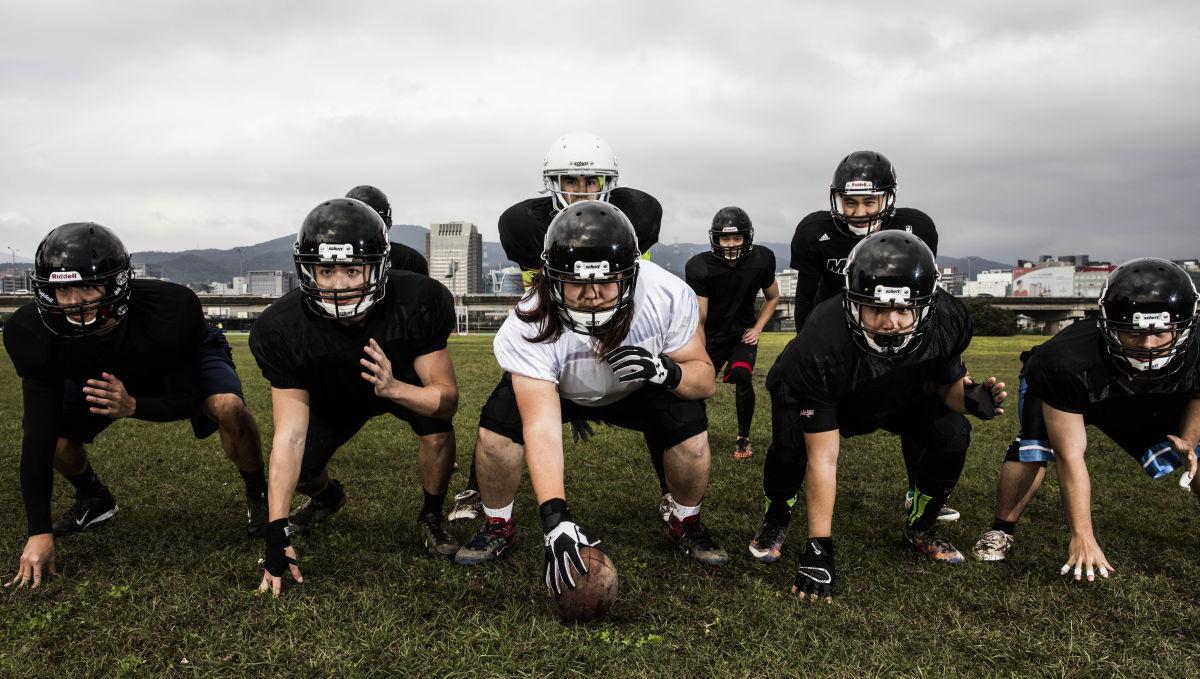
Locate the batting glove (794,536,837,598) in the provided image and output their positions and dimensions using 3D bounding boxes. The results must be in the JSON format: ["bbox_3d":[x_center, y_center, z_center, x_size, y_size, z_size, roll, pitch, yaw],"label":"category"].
[{"bbox_3d":[1.832,1.960,7.325,0.335,0.497,0.191,-8,-25,27],"label":"batting glove"}]

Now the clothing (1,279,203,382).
[{"bbox_3d":[-4.518,0.003,7.985,1.132,0.601,1.402,-2,-2,11],"label":"clothing"}]

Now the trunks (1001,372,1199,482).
[{"bbox_3d":[4.804,0.928,7.925,1.277,1.167,0.468,-2,32,21],"label":"trunks"}]

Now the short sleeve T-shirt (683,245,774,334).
[{"bbox_3d":[1.741,-0.681,11.529,1.346,1.201,0.663,-4,9,-14],"label":"short sleeve T-shirt"}]

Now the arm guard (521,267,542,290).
[{"bbox_3d":[-0.746,-0.649,9.034,0.270,0.241,0.301,0,5,-4],"label":"arm guard"}]

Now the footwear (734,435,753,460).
[{"bbox_3d":[1.788,1.396,10.796,0.234,0.286,0.297,2,-16,-1],"label":"footwear"}]

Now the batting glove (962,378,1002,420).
[{"bbox_3d":[3.430,0.550,7.706,0.184,0.325,0.374,-6,15,-25],"label":"batting glove"}]

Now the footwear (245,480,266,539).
[{"bbox_3d":[-3.343,1.638,8.252,0.196,0.527,0.249,2,-22,-37],"label":"footwear"}]

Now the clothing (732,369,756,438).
[{"bbox_3d":[1.930,0.804,11.039,0.308,1.012,0.333,-3,-18,31],"label":"clothing"}]

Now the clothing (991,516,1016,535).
[{"bbox_3d":[3.828,1.770,8.141,0.179,0.145,0.225,-1,-15,45],"label":"clothing"}]
